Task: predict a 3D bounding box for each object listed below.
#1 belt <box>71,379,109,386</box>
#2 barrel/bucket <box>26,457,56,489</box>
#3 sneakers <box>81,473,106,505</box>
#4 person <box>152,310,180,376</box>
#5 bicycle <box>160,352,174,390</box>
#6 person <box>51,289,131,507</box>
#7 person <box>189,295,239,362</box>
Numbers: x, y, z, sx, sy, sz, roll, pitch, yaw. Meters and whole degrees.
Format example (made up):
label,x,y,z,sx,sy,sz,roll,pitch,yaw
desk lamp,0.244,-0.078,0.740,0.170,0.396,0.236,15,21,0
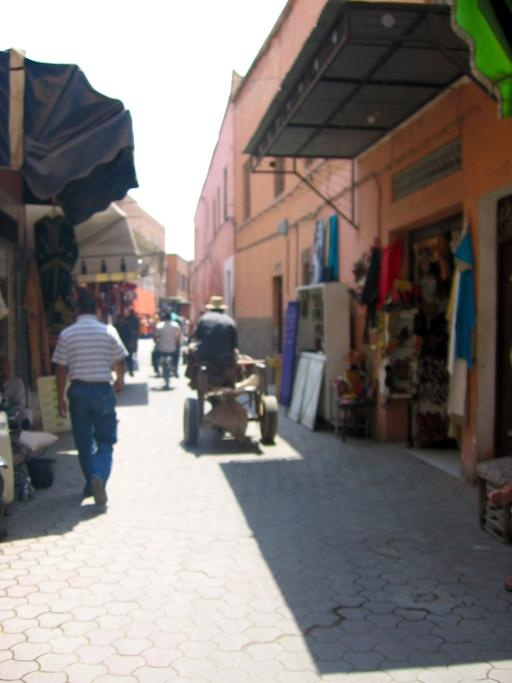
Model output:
label,x,y,z,sx,sy,sz,roll,pitch,yaw
belt,-1.348,0.335,5.191,0.289,0.044,0.101,0,1,-24
barrel/bucket,-1.895,1.123,5.598,0.203,0.290,0.202,2,5,0
sneakers,-1.289,1.164,5.104,0.173,0.258,0.519,0,1,-17
person,-2.147,0.111,15.529,0.594,1.136,1.504,0,2,-4
bicycle,-2.038,0.680,14.978,0.285,0.552,0.700,1,3,-4
person,-1.348,0.543,5.201,0.576,1.495,0.766,0,1,-20
person,-0.497,-0.134,8.316,0.569,1.373,0.727,1,5,-1
